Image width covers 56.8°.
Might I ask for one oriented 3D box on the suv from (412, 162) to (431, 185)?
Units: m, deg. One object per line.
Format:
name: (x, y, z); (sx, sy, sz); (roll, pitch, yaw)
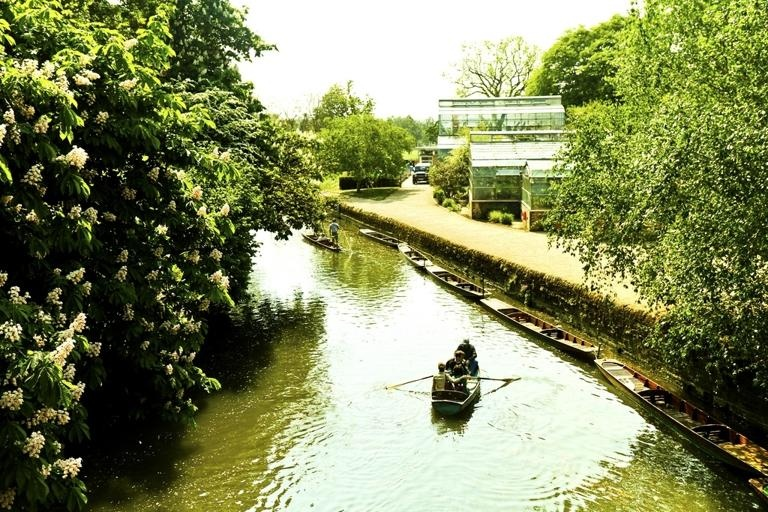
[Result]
suv: (4.201, -9.564, 83.265); (1.748, 1.609, 3.203); (-1, 2, 2)

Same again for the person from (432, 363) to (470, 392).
person: (2.196, 4.364, 24.257); (0.709, 1.213, 1.182); (9, 28, 22)

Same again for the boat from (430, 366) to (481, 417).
boat: (2.491, 4.451, 24.492); (1.502, 1.375, 2.498); (7, 10, 22)

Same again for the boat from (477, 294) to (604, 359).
boat: (6.505, 2.963, 30.140); (1.410, 0.794, 6.694); (-8, 23, -22)
